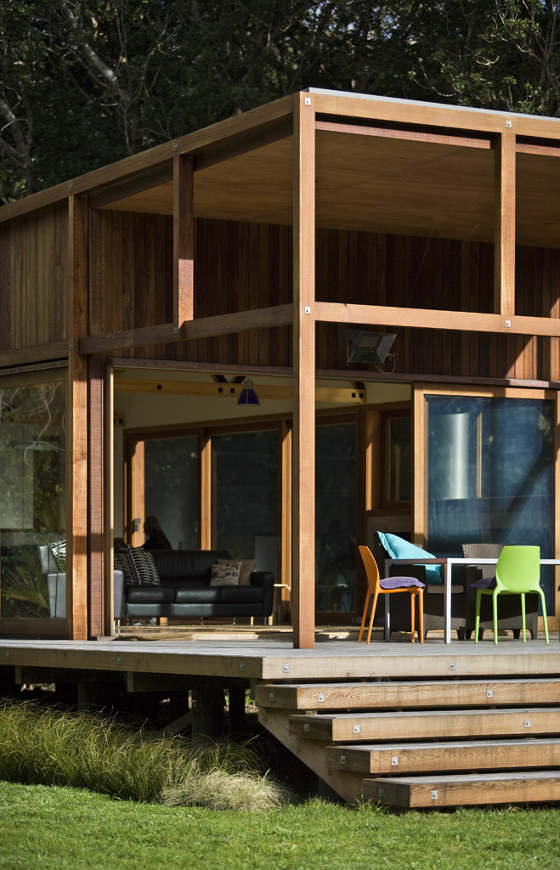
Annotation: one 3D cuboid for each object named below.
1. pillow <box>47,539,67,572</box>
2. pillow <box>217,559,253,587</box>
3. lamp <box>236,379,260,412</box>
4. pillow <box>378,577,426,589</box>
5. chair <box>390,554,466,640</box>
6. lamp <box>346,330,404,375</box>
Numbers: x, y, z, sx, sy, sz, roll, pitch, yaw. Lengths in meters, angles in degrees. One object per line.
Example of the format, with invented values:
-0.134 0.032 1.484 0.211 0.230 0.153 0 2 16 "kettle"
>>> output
-1.701 0.930 12.348 0.153 0.239 0.063 3 0 44 "pillow"
-0.432 1.326 15.585 0.231 0.248 0.077 2 -34 -1 "pillow"
-0.311 -0.433 16.954 0.242 0.324 0.220 0 -2 -11 "lamp"
0.843 1.023 11.102 0.249 0.094 0.416 -2 -7 17 "pillow"
1.071 1.138 11.565 0.502 0.734 0.717 -4 -6 33 "chair"
0.719 -0.691 12.870 0.388 0.358 0.560 0 -7 2 "lamp"
